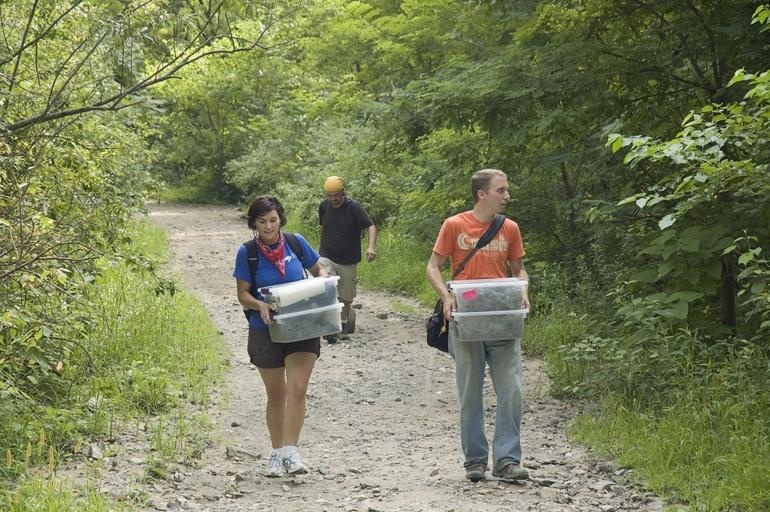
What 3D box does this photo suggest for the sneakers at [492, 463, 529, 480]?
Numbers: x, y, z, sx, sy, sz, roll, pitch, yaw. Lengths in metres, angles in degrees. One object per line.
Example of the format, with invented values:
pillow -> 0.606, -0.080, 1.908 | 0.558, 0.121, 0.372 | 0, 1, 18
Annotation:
sneakers -> 1.318, 2.266, 9.216 | 0.371, 0.150, 0.139 | -2, 17, 13

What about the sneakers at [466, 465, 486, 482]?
sneakers -> 0.962, 2.267, 9.206 | 0.218, 0.162, 0.139 | -3, 14, -3

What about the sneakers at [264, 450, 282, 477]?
sneakers -> -1.204, 2.266, 9.490 | 0.141, 0.133, 0.310 | 0, 3, -2

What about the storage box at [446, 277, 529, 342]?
storage box -> 1.072, 0.523, 9.320 | 1.052, 0.654, 0.593 | -1, -1, -7

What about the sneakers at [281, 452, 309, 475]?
sneakers -> -0.988, 2.255, 9.575 | 0.166, 0.153, 0.337 | -1, -2, -33
